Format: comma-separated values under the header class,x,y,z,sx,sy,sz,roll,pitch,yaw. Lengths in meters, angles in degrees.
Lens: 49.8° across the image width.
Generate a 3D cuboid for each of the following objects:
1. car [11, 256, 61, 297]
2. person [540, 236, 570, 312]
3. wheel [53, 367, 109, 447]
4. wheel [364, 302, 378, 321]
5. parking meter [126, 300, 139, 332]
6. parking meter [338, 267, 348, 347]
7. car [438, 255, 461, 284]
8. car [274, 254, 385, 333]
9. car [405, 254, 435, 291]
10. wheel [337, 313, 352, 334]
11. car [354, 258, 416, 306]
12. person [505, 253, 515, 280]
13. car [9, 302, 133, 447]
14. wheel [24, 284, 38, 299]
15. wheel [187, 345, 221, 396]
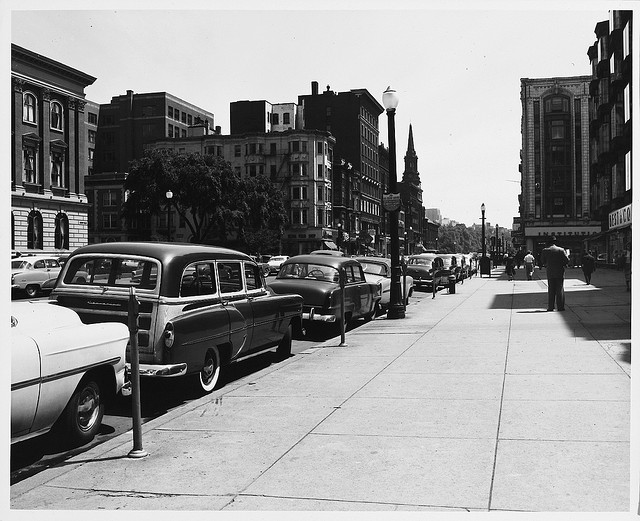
class,x,y,z,sx,sy,sz,roll,pitch,yaw
car,-10.675,0.614,25.671,1.228,0.969,2.238,1,5,21
person,5.850,0.445,17.136,0.596,1.615,0.716,-1,2,20
wheel,-2.524,1.551,7.311,0.172,0.746,0.674,-1,3,20
wheel,1.259,1.264,17.324,0.172,0.555,0.503,1,-1,20
parking meter,-1.850,0.546,6.831,0.079,0.316,0.119,-2,2,-22
parking meter,0.427,0.903,13.319,0.186,1.535,0.204,0,2,19
car,6.151,0.336,32.938,0.721,0.791,2.033,-2,-3,23
car,0.287,0.673,15.366,1.093,0.968,2.678,4,3,22
car,4.462,0.584,30.024,1.144,1.183,2.343,2,5,26
wheel,0.525,1.359,14.963,0.174,0.605,0.551,6,3,13
car,1.728,0.598,19.161,0.892,0.907,2.354,1,5,25
person,9.689,0.324,35.087,0.339,1.469,3.064,-1,3,14
car,-2.563,1.128,7.168,0.953,0.888,1.800,1,6,26
wheel,-11.491,1.208,27.349,0.158,0.500,0.451,5,-3,30
wheel,-1.566,1.474,9.296,0.196,0.731,0.666,-9,-1,20
